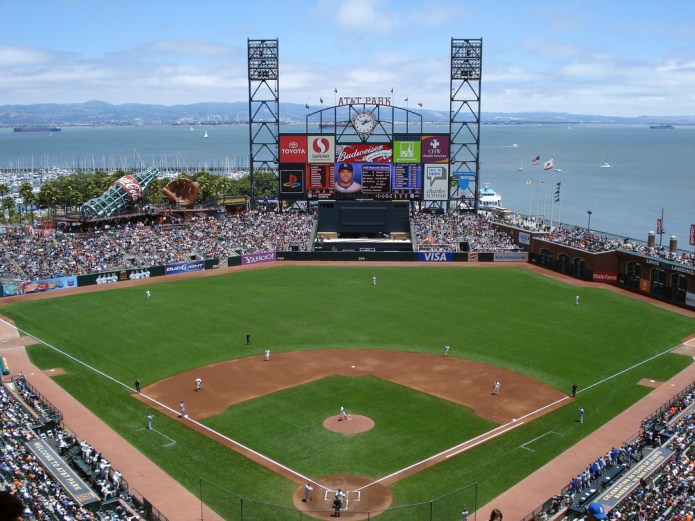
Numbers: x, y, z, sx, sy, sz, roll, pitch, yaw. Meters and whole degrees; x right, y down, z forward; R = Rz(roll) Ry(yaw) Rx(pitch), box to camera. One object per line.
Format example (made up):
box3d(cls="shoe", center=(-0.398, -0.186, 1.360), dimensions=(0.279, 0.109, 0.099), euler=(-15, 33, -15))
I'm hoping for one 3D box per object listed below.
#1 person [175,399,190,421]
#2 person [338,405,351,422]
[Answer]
box3d(cls="person", center=(-13.125, 11.910, 57.381), dimensions=(1.341, 1.736, 0.994), euler=(0, 7, 16))
box3d(cls="person", center=(-0.236, 12.187, 56.301), dimensions=(0.884, 0.509, 0.883), euler=(2, 9, 31))
